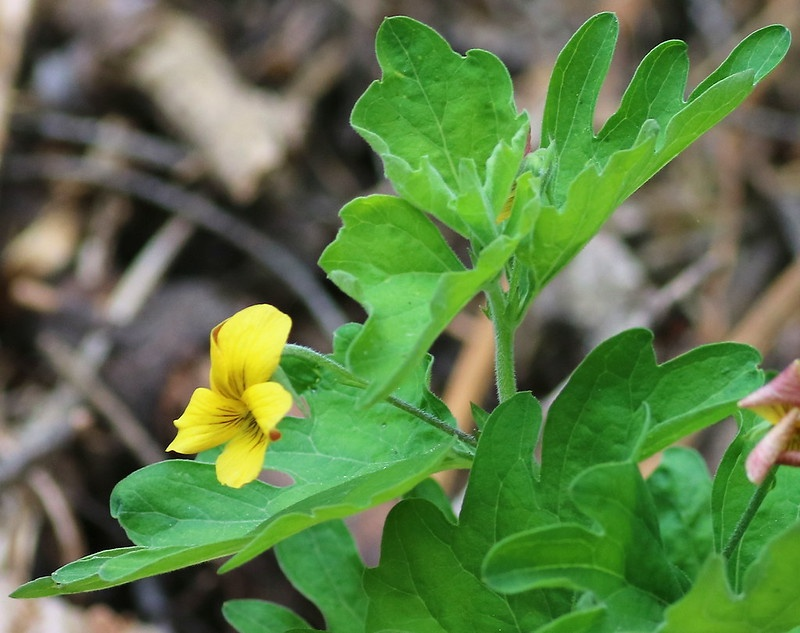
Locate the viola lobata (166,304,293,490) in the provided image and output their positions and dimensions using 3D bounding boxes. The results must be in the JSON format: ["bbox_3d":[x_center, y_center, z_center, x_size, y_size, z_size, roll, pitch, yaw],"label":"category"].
[{"bbox_3d":[-0.244,0.114,1.705,0.188,0.259,0.090,10,13,22],"label":"viola lobata"}]
